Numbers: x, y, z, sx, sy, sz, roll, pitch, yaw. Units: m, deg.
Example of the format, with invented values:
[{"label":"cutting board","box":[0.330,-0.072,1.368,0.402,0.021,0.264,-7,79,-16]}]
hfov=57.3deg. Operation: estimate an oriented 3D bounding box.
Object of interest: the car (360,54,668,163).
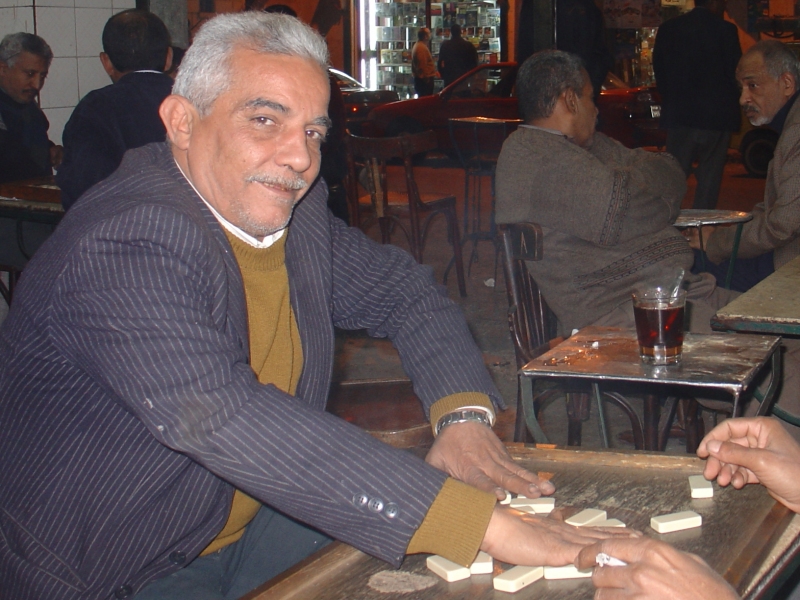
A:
[{"label":"car","box":[1.470,-3.180,12.250,5.319,1.883,2.586,9,20,21]}]
